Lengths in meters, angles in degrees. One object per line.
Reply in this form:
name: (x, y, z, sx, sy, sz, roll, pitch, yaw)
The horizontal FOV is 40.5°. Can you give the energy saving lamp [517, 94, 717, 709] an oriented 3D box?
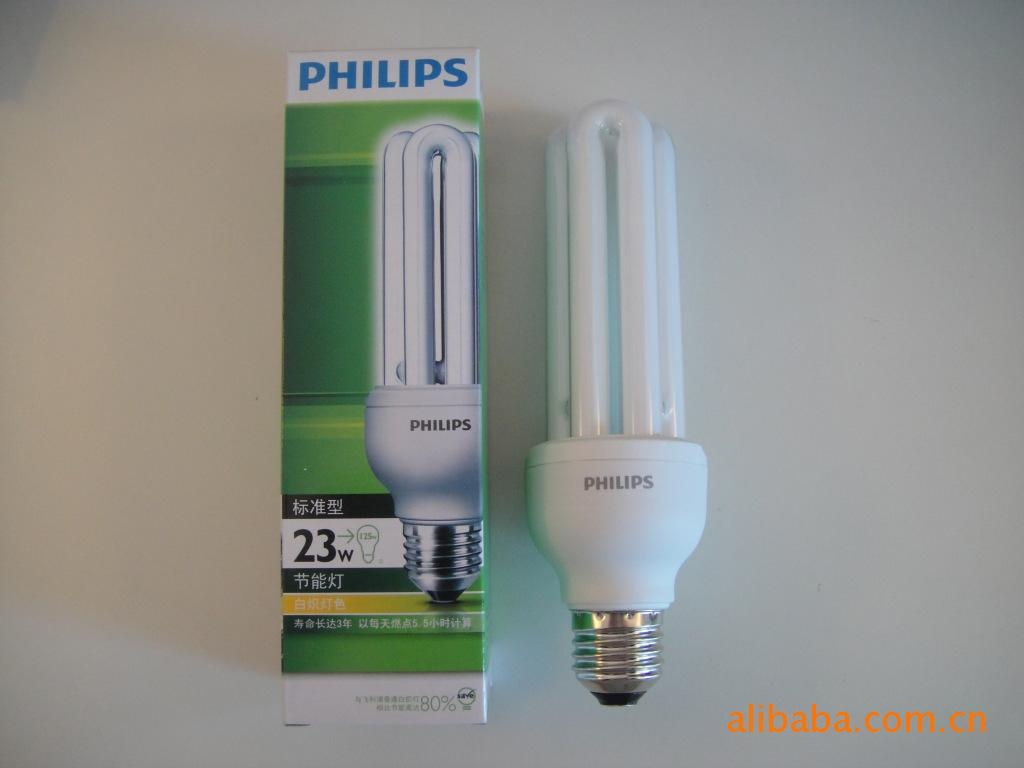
energy saving lamp: (0.113, 0.020, 1.525, 0.197, 0.653, 0.090, -1, -3, -1)
